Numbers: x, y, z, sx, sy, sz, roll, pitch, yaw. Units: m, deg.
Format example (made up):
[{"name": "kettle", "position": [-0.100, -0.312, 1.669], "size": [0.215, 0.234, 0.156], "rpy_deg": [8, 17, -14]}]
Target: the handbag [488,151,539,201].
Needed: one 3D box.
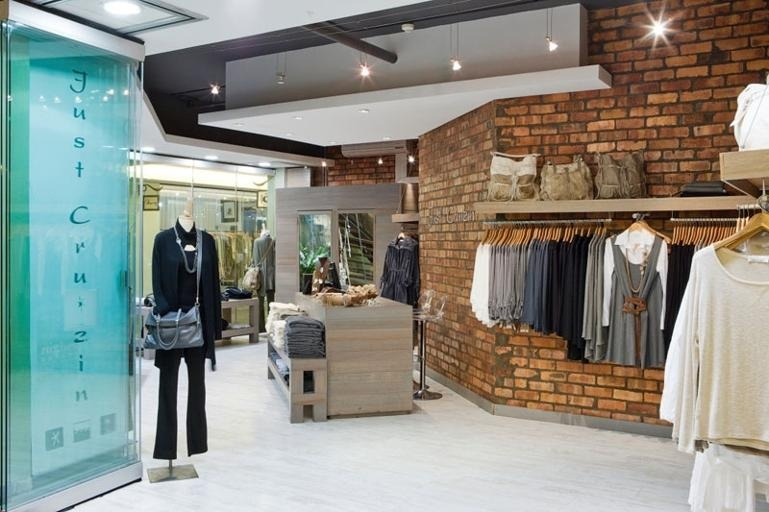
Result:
[{"name": "handbag", "position": [1.384, -0.836, 6.118], "size": [0.575, 0.512, 0.156], "rpy_deg": [1, -10, 18]}]

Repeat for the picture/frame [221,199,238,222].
[{"name": "picture/frame", "position": [-2.981, -0.858, 10.941], "size": [0.045, 0.365, 0.434], "rpy_deg": [-1, 7, 26]}]

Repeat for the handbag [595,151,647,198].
[{"name": "handbag", "position": [2.401, -0.812, 5.800], "size": [0.541, 0.498, 0.275], "rpy_deg": [0, 2, 14]}]

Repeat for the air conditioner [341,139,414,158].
[{"name": "air conditioner", "position": [-0.120, -2.024, 10.769], "size": [1.422, 0.233, 0.478], "rpy_deg": [4, 6, 40]}]

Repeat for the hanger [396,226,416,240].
[{"name": "hanger", "position": [0.362, -0.366, 9.268], "size": [0.298, 0.114, 0.385], "rpy_deg": [1, -1, 4]}]

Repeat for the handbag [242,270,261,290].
[{"name": "handbag", "position": [-2.500, 0.473, 10.784], "size": [0.182, 0.348, 0.360], "rpy_deg": [6, -2, -41]}]

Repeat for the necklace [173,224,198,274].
[{"name": "necklace", "position": [-1.687, -0.044, 4.922], "size": [0.216, 0.378, 0.126], "rpy_deg": [-2, 5, -18]}]

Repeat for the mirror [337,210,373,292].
[{"name": "mirror", "position": [-0.504, -0.111, 10.259], "size": [0.751, 1.344, 0.142], "rpy_deg": [2, 5, 20]}]
